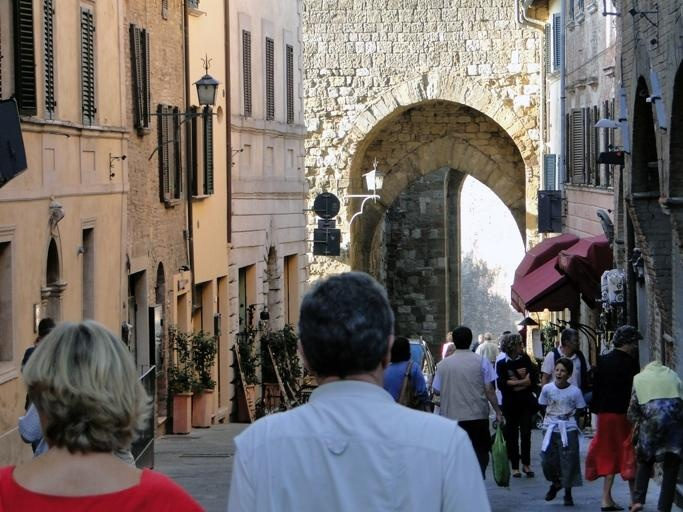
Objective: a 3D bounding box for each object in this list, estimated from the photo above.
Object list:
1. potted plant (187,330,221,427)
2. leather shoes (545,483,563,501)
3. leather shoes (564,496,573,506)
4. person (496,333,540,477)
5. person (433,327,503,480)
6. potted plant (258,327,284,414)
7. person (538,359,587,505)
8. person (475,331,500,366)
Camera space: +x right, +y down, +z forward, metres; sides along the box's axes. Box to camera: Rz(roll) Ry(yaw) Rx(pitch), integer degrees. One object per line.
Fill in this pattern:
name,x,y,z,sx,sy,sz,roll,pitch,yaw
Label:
potted plant,-2.159,1.907,20.115,0.377,1.346,0.452,-5,-10,14
leather shoes,2.212,2.450,13.459,0.066,0.210,0.139,29,11,21
leather shoes,2.313,2.479,13.169,0.087,0.095,0.207,-2,-7,10
person,2.005,1.683,14.730,0.409,1.647,0.407,-2,-7,-7
person,1.287,1.513,13.209,0.641,1.760,0.556,0,14,11
potted plant,-1.284,2.097,24.201,0.415,1.578,0.441,-2,18,-4
person,2.265,1.787,13.242,0.452,1.487,0.435,-2,-6,9
person,2.245,1.515,19.766,0.379,0.872,0.273,-4,34,1
